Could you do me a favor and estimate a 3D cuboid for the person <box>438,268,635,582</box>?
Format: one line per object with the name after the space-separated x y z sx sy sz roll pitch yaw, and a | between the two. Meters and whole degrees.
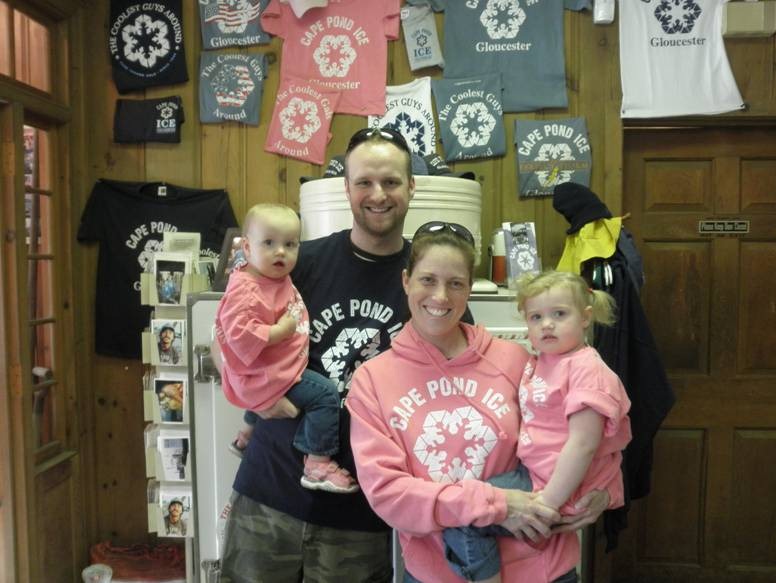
0.722 0.404 3.845 0.551 0.975 0.266 -1 -2 6 | person

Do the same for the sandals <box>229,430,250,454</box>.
-0.693 0.705 4.312 0.061 0.048 0.138 -35 19 33 | sandals

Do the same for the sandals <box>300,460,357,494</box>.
-0.253 0.775 3.962 0.226 0.125 0.123 4 7 3 | sandals
